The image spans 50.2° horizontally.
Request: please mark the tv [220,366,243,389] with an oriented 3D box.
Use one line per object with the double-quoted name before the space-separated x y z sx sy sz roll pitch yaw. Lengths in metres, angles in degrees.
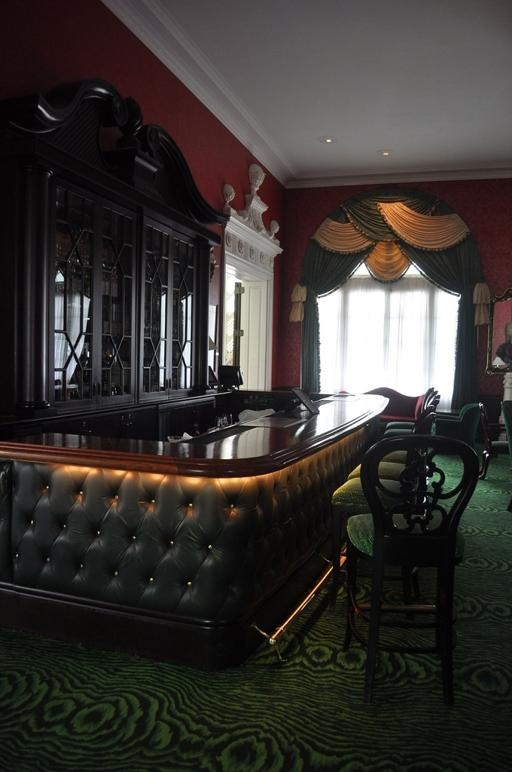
"tv" -0.247 -0.107 5.453 0.243 0.257 0.200 3 15 17
